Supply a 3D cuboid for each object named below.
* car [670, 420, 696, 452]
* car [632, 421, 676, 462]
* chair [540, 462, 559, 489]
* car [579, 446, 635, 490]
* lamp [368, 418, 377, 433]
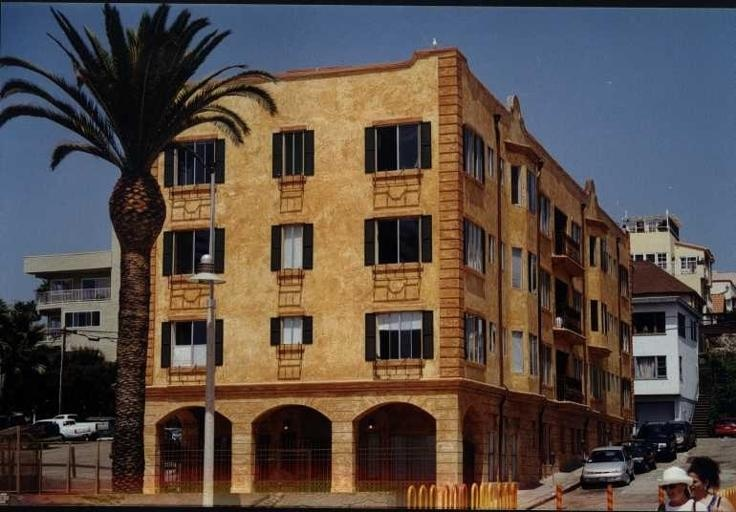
[{"bbox_3d":[17.786,10.170,73.375,0.828,1.708,1.715,-11,-19,32],"label":"car"},{"bbox_3d":[16.435,10.484,73.860,1.322,1.370,2.659,-6,-18,22],"label":"car"},{"bbox_3d":[10.063,11.896,70.348,1.238,1.555,0.768,14,-15,-33],"label":"chair"},{"bbox_3d":[12.206,10.876,67.329,2.587,2.135,1.833,-2,-16,4],"label":"car"},{"bbox_3d":[0.188,8.643,66.883,0.472,0.735,0.117,5,-17,-20],"label":"lamp"}]
